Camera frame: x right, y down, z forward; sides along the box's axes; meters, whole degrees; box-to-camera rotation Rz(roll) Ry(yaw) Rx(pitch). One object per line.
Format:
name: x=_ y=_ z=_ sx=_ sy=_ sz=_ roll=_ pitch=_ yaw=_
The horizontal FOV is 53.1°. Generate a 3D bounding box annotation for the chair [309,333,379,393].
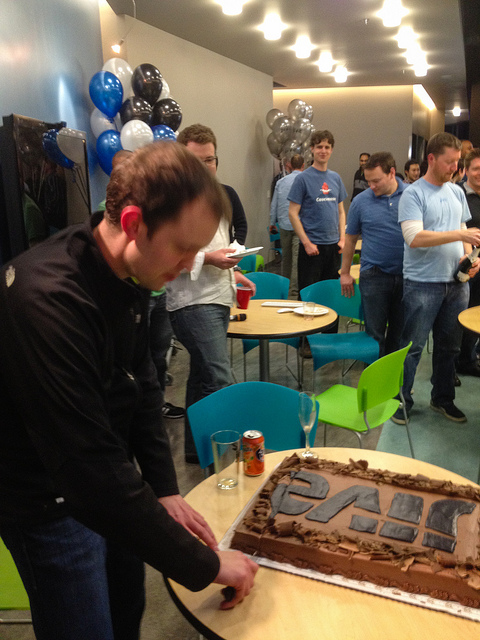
chair: x=0.735 y=0.174 z=3.432 sx=0.437 sy=0.607 sz=0.435 roll=-1 pitch=22 yaw=10

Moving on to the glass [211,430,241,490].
glass: x=-0.038 y=0.380 z=1.302 sx=0.094 sy=0.131 sz=0.115 roll=1 pitch=16 yaw=2

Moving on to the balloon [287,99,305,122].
balloon: x=1.045 y=-3.728 z=8.496 sx=0.342 sy=0.404 sz=0.353 roll=16 pitch=31 yaw=22

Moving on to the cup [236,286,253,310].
cup: x=0.024 y=-0.143 z=3.127 sx=0.159 sy=0.161 sz=0.129 roll=0 pitch=21 yaw=-1

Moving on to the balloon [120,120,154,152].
balloon: x=-0.850 y=-1.486 z=3.843 sx=0.270 sy=0.282 sz=0.328 roll=-1 pitch=4 yaw=-7

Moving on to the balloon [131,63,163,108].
balloon: x=-0.792 y=-1.995 z=4.077 sx=0.254 sy=0.362 sz=0.329 roll=-4 pitch=35 yaw=8

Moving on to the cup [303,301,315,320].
cup: x=0.458 y=-0.061 z=3.158 sx=0.107 sy=0.152 sz=0.097 roll=0 pitch=7 yaw=0

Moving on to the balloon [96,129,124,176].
balloon: x=-1.084 y=-1.429 z=3.967 sx=0.192 sy=0.396 sz=0.354 roll=-2 pitch=4 yaw=-18

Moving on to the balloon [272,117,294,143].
balloon: x=0.754 y=-3.263 z=8.205 sx=0.334 sy=0.408 sz=0.335 roll=-2 pitch=44 yaw=3

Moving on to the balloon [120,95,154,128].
balloon: x=-0.830 y=-1.745 z=4.031 sx=0.252 sy=0.301 sz=0.254 roll=1 pitch=39 yaw=2

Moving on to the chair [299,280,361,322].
chair: x=0.713 y=-0.190 z=3.931 sx=0.393 sy=0.488 sz=0.355 roll=-12 pitch=18 yaw=-25

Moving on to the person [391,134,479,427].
person: x=1.364 y=-0.219 z=3.273 sx=0.582 sy=1.910 sz=1.476 roll=0 pitch=4 yaw=17

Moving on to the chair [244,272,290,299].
chair: x=0.251 y=-0.334 z=4.128 sx=0.261 sy=0.324 sz=0.270 roll=3 pitch=11 yaw=0

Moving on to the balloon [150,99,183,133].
balloon: x=-0.616 y=-1.834 z=4.330 sx=0.252 sy=0.301 sz=0.262 roll=1 pitch=34 yaw=5

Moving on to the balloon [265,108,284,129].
balloon: x=0.573 y=-3.430 z=8.239 sx=0.305 sy=0.366 sz=0.318 roll=-1 pitch=19 yaw=17

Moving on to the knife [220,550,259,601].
knife: x=-0.012 y=0.496 z=0.927 sx=0.039 sy=0.050 sz=0.086 roll=27 pitch=47 yaw=16

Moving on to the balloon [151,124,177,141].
balloon: x=-0.658 y=-1.604 z=4.093 sx=0.184 sy=0.148 sz=0.159 roll=-2 pitch=4 yaw=-10
